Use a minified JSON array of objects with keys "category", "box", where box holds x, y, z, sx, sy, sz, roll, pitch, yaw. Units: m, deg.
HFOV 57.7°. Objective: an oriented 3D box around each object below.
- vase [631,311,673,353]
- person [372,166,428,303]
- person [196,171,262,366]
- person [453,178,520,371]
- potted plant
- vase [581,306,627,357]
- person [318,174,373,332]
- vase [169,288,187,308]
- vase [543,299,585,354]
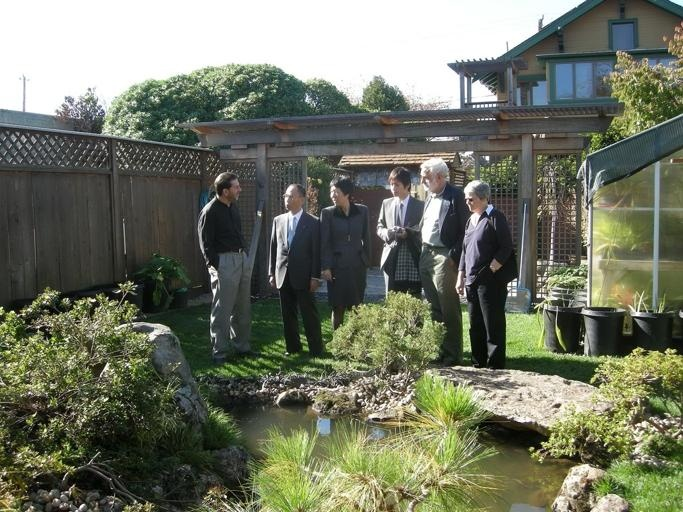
[{"category":"vase","box":[3.425,0.778,6.846,0.391,0.409,0.414,2,6,32]},{"category":"person","box":[0.677,-0.097,7.117,0.488,1.708,0.502,4,14,12]},{"category":"person","box":[-1.297,0.136,7.028,0.345,2.116,0.599,8,14,41]},{"category":"person","box":[1.466,0.212,6.313,0.578,1.915,0.337,8,14,41]},{"category":"potted plant","box":[-2.839,0.400,9.697,0.688,0.868,0.818,1,-3,-9]},{"category":"vase","box":[2.908,0.833,6.879,0.434,0.557,0.474,2,-3,-6]},{"category":"person","box":[0.048,-0.153,7.064,0.557,1.419,0.327,-2,11,-4]},{"category":"vase","box":[-2.590,0.682,9.897,0.253,0.286,0.254,3,-5,-38]},{"category":"vase","box":[2.554,0.820,7.115,0.448,0.466,0.487,0,-1,0]}]
